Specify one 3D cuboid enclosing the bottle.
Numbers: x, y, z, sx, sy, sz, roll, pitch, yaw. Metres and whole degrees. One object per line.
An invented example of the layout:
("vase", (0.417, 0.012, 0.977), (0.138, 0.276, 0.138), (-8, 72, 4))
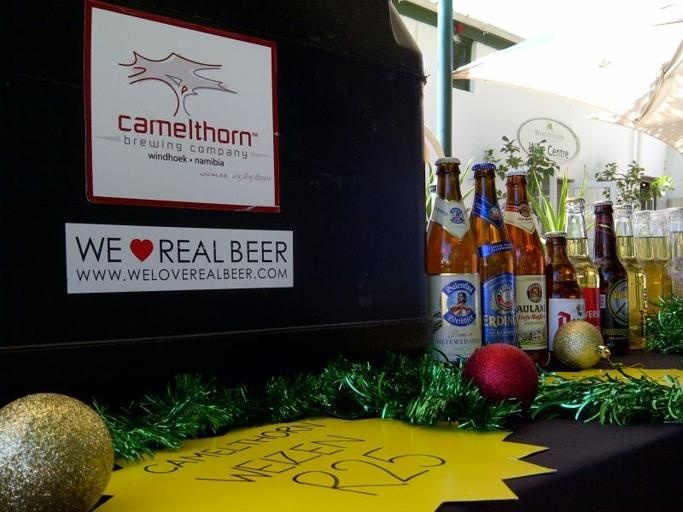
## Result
("bottle", (0.260, 0.019, 0.917), (0.345, 0.359, 0.136), (-7, 11, -41))
